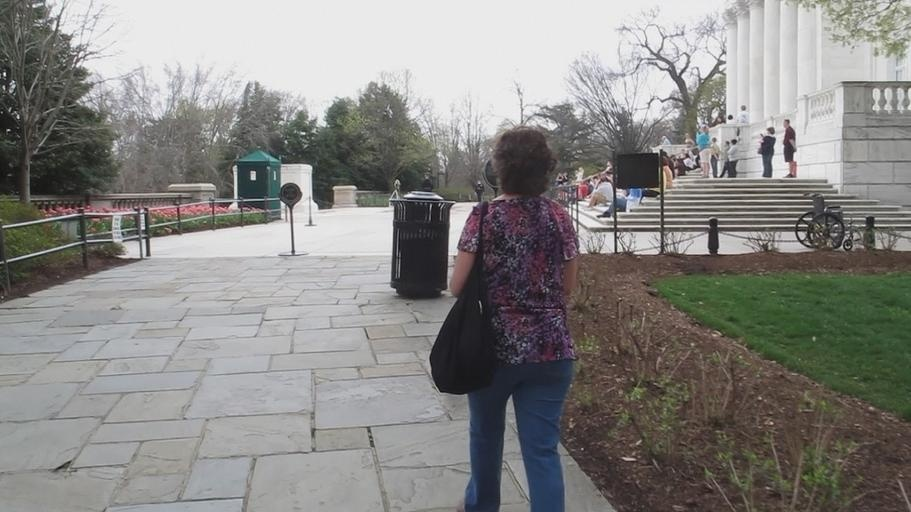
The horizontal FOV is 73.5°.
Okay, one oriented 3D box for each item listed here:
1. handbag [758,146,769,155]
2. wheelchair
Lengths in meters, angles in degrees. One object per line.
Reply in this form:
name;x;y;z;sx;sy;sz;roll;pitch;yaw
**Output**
handbag;14.315;-4.908;28.390;0.421;0.381;0.510;2;2;11
wheelchair;10.149;-0.900;16.400;1.304;1.332;1.006;1;9;35
